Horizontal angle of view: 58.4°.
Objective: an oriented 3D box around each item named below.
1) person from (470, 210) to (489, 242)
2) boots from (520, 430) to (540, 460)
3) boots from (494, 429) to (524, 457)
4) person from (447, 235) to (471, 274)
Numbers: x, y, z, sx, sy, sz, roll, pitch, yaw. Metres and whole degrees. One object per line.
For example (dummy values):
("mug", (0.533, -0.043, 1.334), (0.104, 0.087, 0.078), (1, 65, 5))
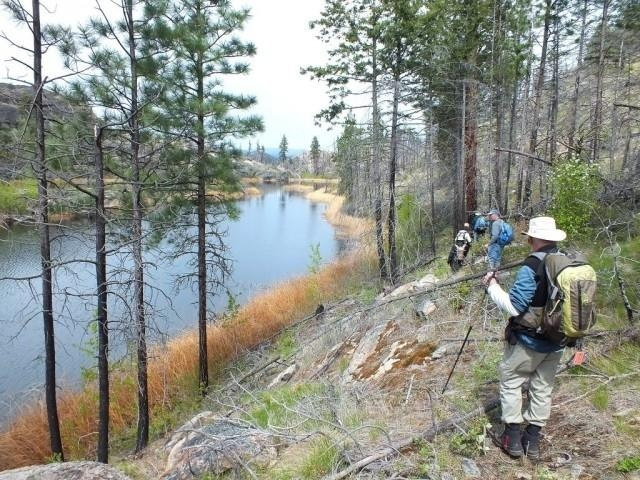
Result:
("person", (5.832, -0.484, 21.081), (0.500, 1.069, 0.667), (-7, 38, 6))
("boots", (4.752, 4.501, 12.855), (0.405, 0.696, 0.292), (0, 10, 9))
("boots", (4.276, 4.482, 12.957), (0.315, 0.665, 0.837), (0, 9, 4))
("person", (4.544, 0.322, 18.853), (0.677, 1.123, 1.642), (1, 11, 16))
